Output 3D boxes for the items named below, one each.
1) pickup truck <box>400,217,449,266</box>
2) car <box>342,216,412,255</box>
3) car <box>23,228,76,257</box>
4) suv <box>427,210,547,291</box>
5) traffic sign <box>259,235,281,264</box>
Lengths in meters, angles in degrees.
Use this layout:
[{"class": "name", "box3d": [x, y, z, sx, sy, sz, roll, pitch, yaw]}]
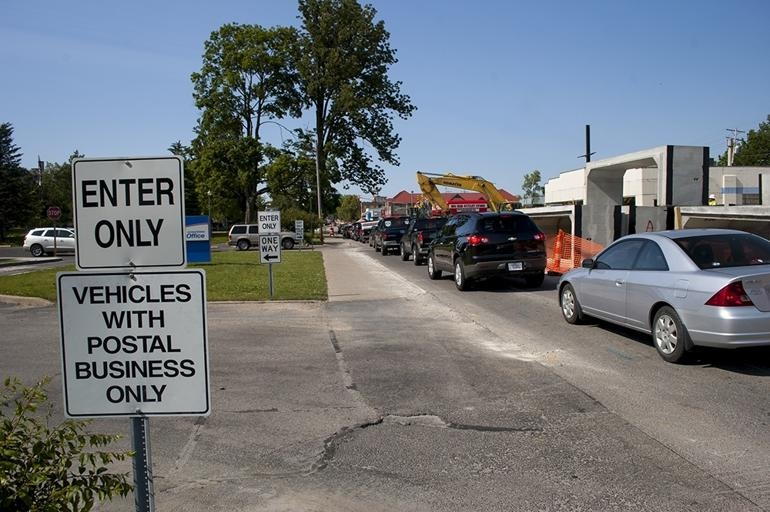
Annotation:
[{"class": "pickup truck", "box3d": [1.737, -0.828, 26.617, 1.288, 1.232, 2.907, 0, 7, -10]}, {"class": "car", "box3d": [0.228, -1.247, 37.092, 2.144, 1.719, 6.033, 0, 7, -8]}, {"class": "car", "box3d": [-20.749, -0.824, 36.615, 3.918, 1.670, 1.906, -2, 4, -11]}, {"class": "suv", "box3d": [2.714, -0.270, 17.088, 1.691, 1.397, 3.486, 0, 5, -12]}, {"class": "traffic sign", "box3d": [-2.960, -0.190, 15.162, 0.716, 1.027, 0.099, -2, -1, -6]}]
